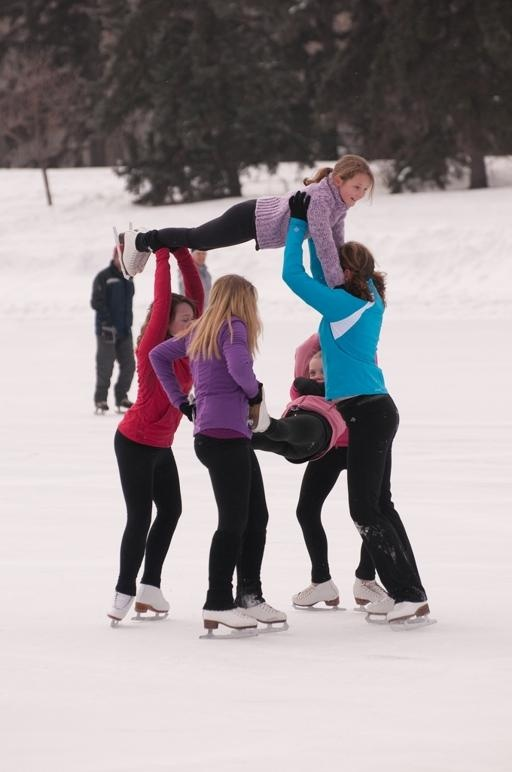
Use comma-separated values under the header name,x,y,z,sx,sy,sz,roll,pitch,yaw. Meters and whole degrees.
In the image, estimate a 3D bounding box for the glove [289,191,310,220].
name,x,y,z,sx,sy,sz,roll,pitch,yaw
glove,0.180,-0.755,4.118,0.035,0.109,0.097,8,-2,-43

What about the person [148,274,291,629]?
name,x,y,z,sx,sy,sz,roll,pitch,yaw
person,-0.143,0.297,4.064,0.452,1.501,0.466,-5,9,-21

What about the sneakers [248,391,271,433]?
name,x,y,z,sx,sy,sz,roll,pitch,yaw
sneakers,0.038,0.101,3.980,0.093,0.148,0.095,-1,3,-29

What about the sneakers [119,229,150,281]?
name,x,y,z,sx,sy,sz,roll,pitch,yaw
sneakers,-0.631,-0.673,5.065,0.122,0.132,0.323,-3,-37,-3

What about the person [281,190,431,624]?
name,x,y,z,sx,sy,sz,roll,pitch,yaw
person,0.412,0.101,4.238,0.688,1.667,0.616,2,-3,-5

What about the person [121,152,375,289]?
name,x,y,z,sx,sy,sz,roll,pitch,yaw
person,-0.016,-0.699,4.499,1.275,0.500,0.317,-3,14,25

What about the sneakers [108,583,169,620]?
name,x,y,z,sx,sy,sz,roll,pitch,yaw
sneakers,-0.525,0.921,4.202,0.107,0.131,0.356,2,1,34

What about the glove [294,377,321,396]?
name,x,y,z,sx,sy,sz,roll,pitch,yaw
glove,0.242,-0.006,4.416,0.083,0.040,0.099,-8,13,-27

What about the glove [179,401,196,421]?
name,x,y,z,sx,sy,sz,roll,pitch,yaw
glove,-0.281,0.102,4.100,0.064,0.074,0.030,-1,-8,21
